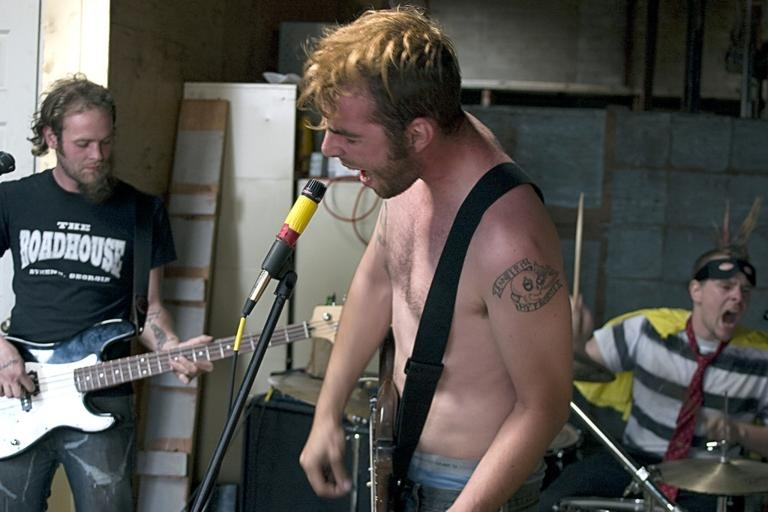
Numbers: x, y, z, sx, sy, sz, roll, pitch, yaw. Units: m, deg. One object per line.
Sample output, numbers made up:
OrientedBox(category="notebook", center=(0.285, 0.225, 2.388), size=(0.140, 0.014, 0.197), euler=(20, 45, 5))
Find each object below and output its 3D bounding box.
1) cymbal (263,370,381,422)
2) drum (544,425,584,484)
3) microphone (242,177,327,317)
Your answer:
OrientedBox(category="cymbal", center=(-0.299, 0.655, 4.491), size=(0.617, 0.080, 0.589), euler=(8, -21, -8))
OrientedBox(category="drum", center=(0.938, 0.966, 4.586), size=(0.140, 0.150, 0.140), euler=(-33, 46, -5))
OrientedBox(category="microphone", center=(-0.508, -0.046, 4.622), size=(0.138, 0.869, 0.150), euler=(27, 11, -19))
